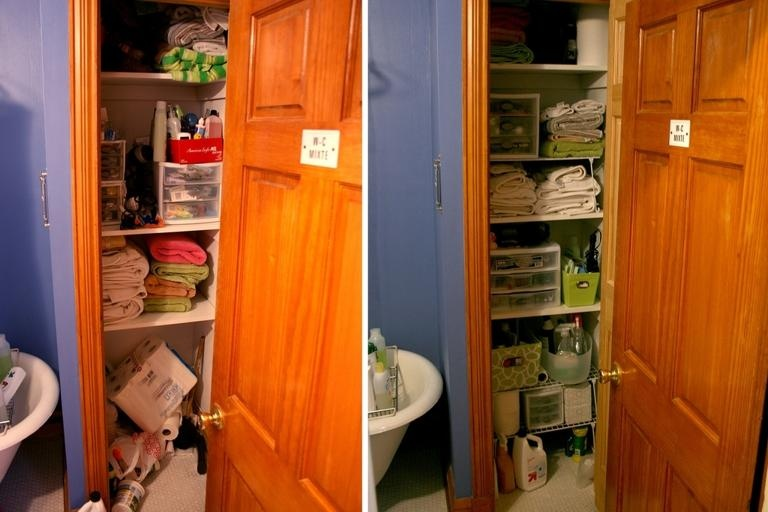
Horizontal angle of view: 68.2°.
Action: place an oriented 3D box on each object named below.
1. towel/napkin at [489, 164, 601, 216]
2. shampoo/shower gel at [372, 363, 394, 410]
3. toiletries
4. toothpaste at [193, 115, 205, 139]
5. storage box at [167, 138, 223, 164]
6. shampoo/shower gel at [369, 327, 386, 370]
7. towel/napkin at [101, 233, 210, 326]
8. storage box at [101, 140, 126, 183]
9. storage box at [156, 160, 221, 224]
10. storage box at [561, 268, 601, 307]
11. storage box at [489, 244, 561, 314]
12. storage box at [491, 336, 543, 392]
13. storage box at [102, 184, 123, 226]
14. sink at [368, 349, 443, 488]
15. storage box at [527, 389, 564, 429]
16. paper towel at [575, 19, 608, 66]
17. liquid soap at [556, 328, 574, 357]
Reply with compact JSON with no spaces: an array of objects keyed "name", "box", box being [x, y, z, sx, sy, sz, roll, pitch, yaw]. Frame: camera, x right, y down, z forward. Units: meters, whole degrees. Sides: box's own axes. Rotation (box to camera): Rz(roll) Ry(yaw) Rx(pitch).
[{"name":"towel/napkin","box":[0.611,-0.262,2.235,0.378,0.197,0.202,0,10,13]},{"name":"shampoo/shower gel","box":[-0.003,0.270,1.171,0.037,0.124,0.070,-2,10,5]},{"name":"toiletries","box":[-0.837,-0.488,2.452,0.295,0.277,0.275,-1,2,-41]},{"name":"toothpaste","box":[-0.781,-0.542,2.391,0.043,0.086,0.062,0,10,15]},{"name":"storage box","box":[-0.791,-0.450,2.407,0.210,0.106,0.079,-5,10,-15]},{"name":"shampoo/shower gel","box":[-0.011,0.181,1.146,0.035,0.077,0.034,-4,10,-9]},{"name":"towel/napkin","box":[-0.983,0.092,2.487,0.386,0.156,0.399,-5,29,-16]},{"name":"storage box","box":[-1.134,-0.405,2.424,0.112,0.144,0.151,1,14,-38]},{"name":"storage box","box":[-0.845,-0.283,2.511,0.269,0.249,0.203,-2,6,-20]},{"name":"storage box","box":[0.652,0.106,1.871,0.105,0.098,0.155,-1,7,-2]},{"name":"storage box","box":[0.566,0.054,2.352,0.319,0.236,0.270,-9,11,8]},{"name":"storage box","box":[0.508,0.465,2.398,0.260,0.172,0.166,1,-1,-29]},{"name":"storage box","box":[-1.127,-0.222,2.357,0.097,0.181,0.062,-6,11,-21]},{"name":"sink","box":[0.044,0.345,1.251,0.251,0.108,0.300,1,10,4]},{"name":"storage box","box":[0.670,0.645,2.444,0.175,0.160,0.129,-4,2,-14]},{"name":"paper towel","box":[0.823,-0.868,2.230,0.130,0.140,0.128,0,0,-18]},{"name":"liquid soap","box":[0.558,0.259,1.735,0.043,0.107,0.072,0,10,12]}]
